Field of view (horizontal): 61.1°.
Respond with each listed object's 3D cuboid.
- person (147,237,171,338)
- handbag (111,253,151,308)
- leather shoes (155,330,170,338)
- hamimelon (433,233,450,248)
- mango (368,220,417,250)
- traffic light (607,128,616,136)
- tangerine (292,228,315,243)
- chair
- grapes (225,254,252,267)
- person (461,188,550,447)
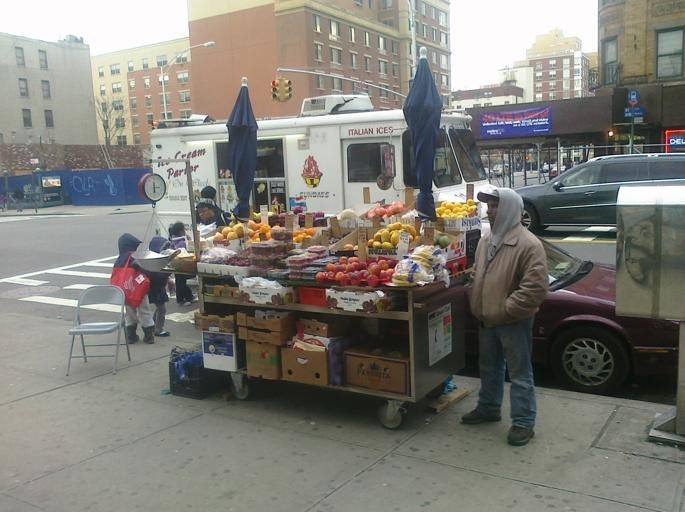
[{"bbox_3d":[-2.984,0.538,9.432,0.387,1.727,0.566,6,11,-2],"label":"person"},{"bbox_3d":[-3.515,0.325,9.784,0.745,1.032,0.410,12,8,36],"label":"handbag"},{"bbox_3d":[-3.164,1.386,10.266,0.246,0.105,0.086,-1,13,-6],"label":"leather shoes"},{"bbox_3d":[1.167,-0.163,6.811,0.175,0.135,0.115,0,10,12],"label":"hamimelon"},{"bbox_3d":[0.581,-0.240,6.931,0.454,0.205,0.333,-41,15,-32],"label":"mango"},{"bbox_3d":[12.100,-5.556,26.107,0.300,0.368,0.238,-2,13,23],"label":"traffic light"},{"bbox_3d":[-0.518,-0.287,7.636,0.198,0.085,0.203,-12,14,-7],"label":"tangerine"},{"bbox_3d":[-4.027,1.284,9.640,1.049,1.806,1.316,-2,-8,-6],"label":"chair"},{"bbox_3d":[-1.325,0.066,7.449,0.212,0.076,0.205,3,13,10],"label":"grapes"},{"bbox_3d":[1.763,0.648,6.449,0.686,2.721,1.013,-4,8,-26],"label":"person"}]
